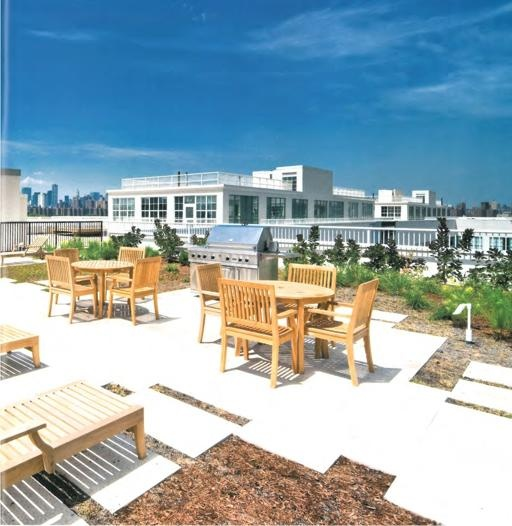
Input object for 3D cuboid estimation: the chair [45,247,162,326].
[{"bbox_3d":[-2.716,0.390,7.836,1.681,1.105,2.339,-6,9,-39],"label":"chair"}]
